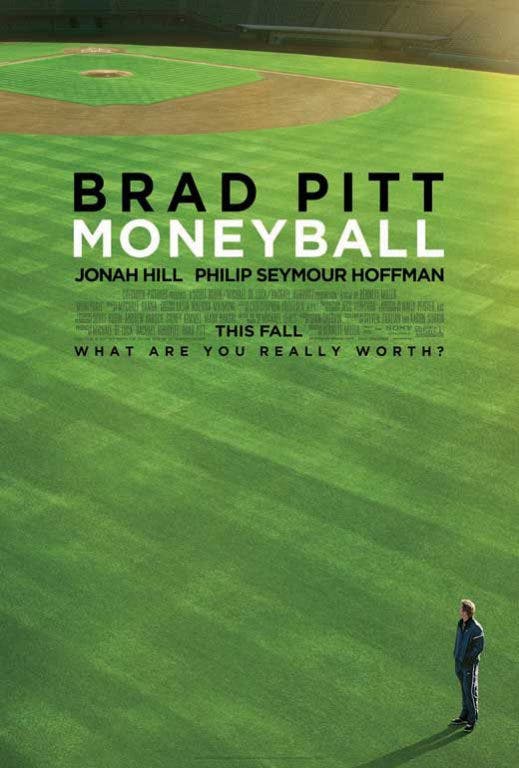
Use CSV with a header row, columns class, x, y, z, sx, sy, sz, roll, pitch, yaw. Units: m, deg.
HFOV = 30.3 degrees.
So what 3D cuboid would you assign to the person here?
class,x,y,z,sx,sy,sz,roll,pitch,yaw
person,2.054,2.694,9.367,0.280,1.392,0.722,6,8,14
